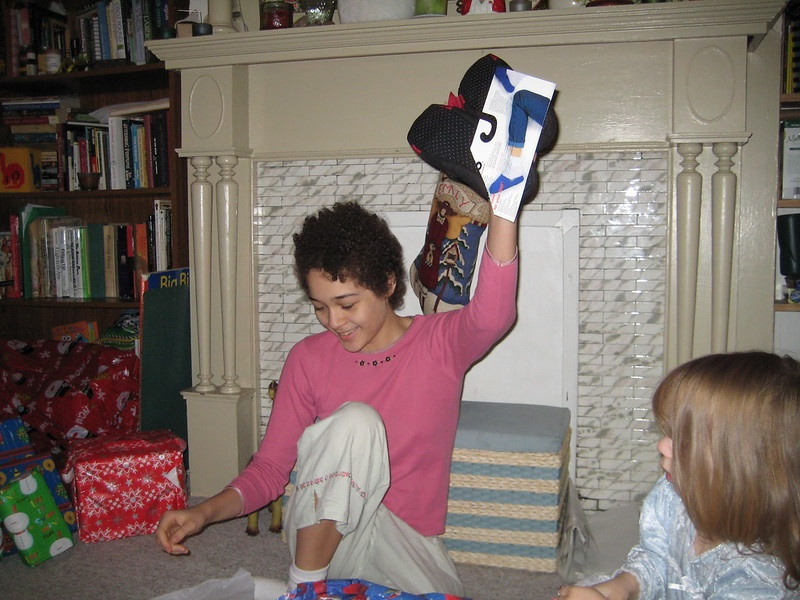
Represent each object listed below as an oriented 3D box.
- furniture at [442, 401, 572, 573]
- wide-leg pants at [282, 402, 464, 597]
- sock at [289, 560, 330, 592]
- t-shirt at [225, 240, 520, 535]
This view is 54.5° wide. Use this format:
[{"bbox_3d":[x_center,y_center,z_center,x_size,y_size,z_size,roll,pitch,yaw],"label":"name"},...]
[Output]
[{"bbox_3d":[0.355,0.583,2.521,0.437,0.453,0.374,4,-6,12],"label":"furniture"},{"bbox_3d":[-0.062,0.568,2.282,0.478,0.638,0.516,3,-11,-21],"label":"wide-leg pants"},{"bbox_3d":[-0.234,0.693,1.990,0.072,0.071,0.072,5,-9,-42],"label":"sock"},{"bbox_3d":[-0.098,0.176,2.188,0.861,1.080,0.558,1,10,5],"label":"t-shirt"}]
